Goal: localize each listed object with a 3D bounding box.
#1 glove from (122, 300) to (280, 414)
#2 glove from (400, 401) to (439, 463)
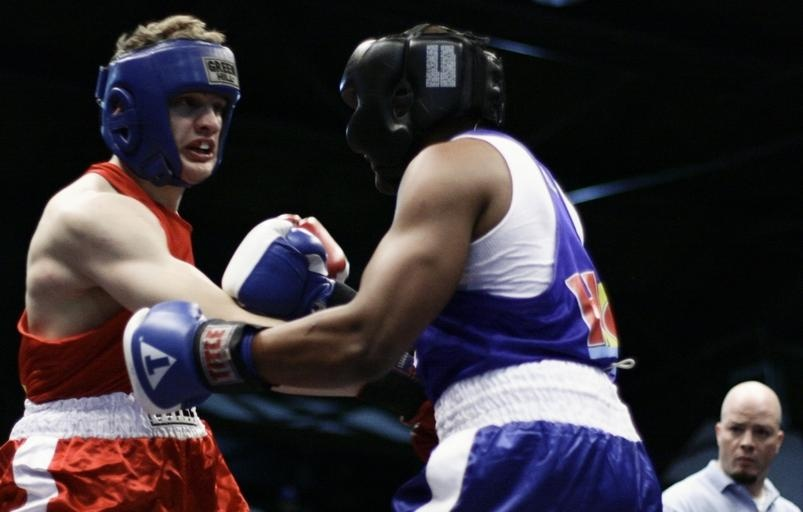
[{"bbox_3d":[-0.960,0.495,5.068,0.704,0.279,0.466,-5,-32,9],"label":"glove"},{"bbox_3d":[0.126,0.959,5.624,0.135,0.306,0.240,-6,9,10],"label":"glove"}]
